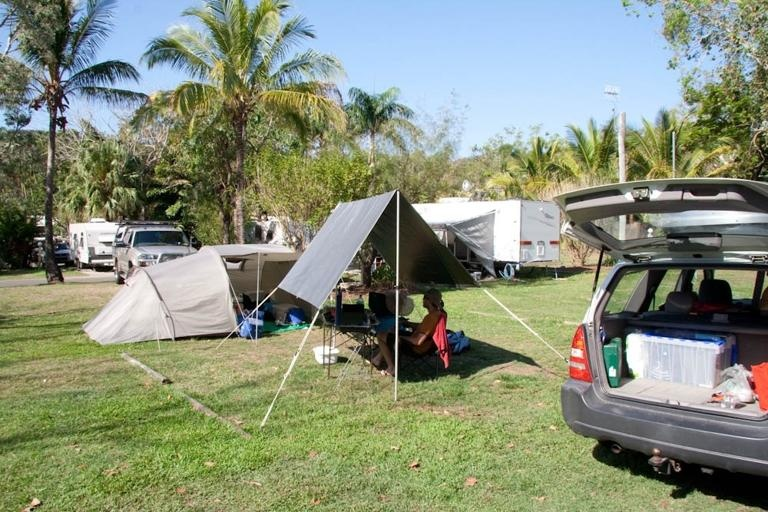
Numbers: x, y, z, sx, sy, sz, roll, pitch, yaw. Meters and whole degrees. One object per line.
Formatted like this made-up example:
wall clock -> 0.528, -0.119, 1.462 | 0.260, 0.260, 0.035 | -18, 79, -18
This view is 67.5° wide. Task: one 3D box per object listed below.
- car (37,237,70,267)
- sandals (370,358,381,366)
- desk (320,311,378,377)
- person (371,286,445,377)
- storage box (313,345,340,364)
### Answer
car -> -14.200, -0.117, 24.600 | 1.564, 1.508, 2.583 | -1, 0, -36
sandals -> -0.135, 1.678, 9.057 | 0.106, 0.105, 0.135 | 7, -17, 12
desk -> -0.569, 1.177, 9.397 | 0.773, 0.724, 1.119 | 8, 3, -7
person -> 0.359, 1.153, 8.746 | 1.015, 1.346, 1.259 | -3, 11, -18
storage box -> -0.927, 1.593, 9.218 | 0.303, 0.128, 0.347 | 1, 3, -16
